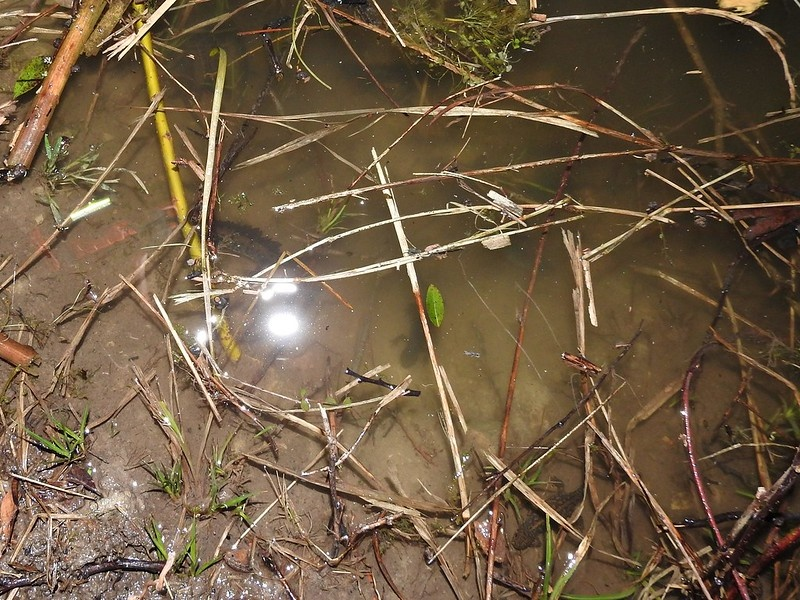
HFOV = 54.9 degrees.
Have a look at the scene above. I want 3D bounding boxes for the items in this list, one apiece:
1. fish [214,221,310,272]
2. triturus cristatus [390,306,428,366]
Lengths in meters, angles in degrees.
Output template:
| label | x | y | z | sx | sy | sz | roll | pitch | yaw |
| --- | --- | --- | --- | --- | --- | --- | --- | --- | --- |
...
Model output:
| label | x | y | z | sx | sy | sz | roll | pitch | yaw |
| --- | --- | --- | --- | --- | --- | --- | --- | --- | --- |
| fish | -0.991 | -0.379 | 5.568 | 0.641 | 0.227 | 0.253 | 31 | -79 | -3 |
| triturus cristatus | 0.066 | 0.271 | 5.428 | 0.207 | 0.265 | 0.321 | -17 | -63 | 21 |
